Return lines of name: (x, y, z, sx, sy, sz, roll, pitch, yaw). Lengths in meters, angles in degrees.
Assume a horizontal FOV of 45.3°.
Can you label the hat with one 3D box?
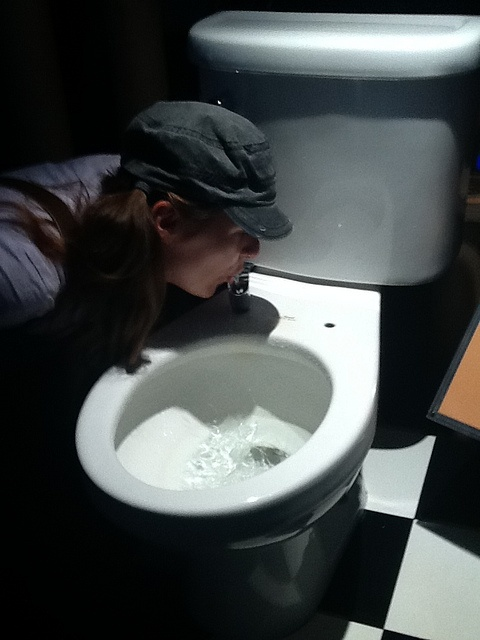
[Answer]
hat: (-0.033, -0.164, 0.661, 0.163, 0.096, 0.127, 22, 31, -11)
